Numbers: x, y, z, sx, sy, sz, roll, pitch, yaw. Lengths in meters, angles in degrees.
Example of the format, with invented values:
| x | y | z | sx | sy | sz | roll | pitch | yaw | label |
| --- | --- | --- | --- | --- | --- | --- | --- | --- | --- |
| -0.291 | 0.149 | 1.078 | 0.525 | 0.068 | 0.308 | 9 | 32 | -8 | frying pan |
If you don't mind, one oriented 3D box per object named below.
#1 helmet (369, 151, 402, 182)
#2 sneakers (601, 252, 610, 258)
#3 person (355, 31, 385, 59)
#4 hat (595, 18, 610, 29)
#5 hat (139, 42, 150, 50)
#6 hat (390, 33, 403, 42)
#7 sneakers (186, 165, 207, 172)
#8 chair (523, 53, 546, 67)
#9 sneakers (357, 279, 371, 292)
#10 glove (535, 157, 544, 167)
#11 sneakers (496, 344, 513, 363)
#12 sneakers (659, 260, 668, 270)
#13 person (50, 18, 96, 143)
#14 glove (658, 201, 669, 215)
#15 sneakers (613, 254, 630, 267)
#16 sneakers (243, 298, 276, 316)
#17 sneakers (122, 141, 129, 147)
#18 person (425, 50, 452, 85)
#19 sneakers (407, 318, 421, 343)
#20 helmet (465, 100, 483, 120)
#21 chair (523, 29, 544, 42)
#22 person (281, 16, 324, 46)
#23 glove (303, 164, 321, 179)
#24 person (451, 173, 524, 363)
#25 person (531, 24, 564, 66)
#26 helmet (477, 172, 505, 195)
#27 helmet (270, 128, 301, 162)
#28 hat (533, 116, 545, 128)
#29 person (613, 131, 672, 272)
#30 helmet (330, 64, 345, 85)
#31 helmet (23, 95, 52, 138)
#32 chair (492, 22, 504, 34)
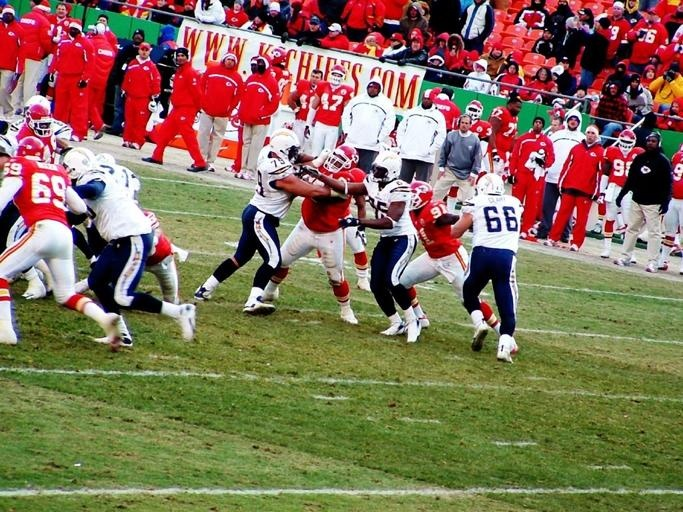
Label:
| x | y | z | sx | sy | sz | roll | pitch | yaw | label |
| --- | --- | --- | --- | --- | --- | --- | --- | --- | --- |
| 0.500 | -1.004 | 12.534 | 0.324 | 0.292 | 0.365 | 12 | 21 | 19 | helmet |
| 4.481 | -0.007 | 19.049 | 0.097 | 0.119 | 0.280 | -1 | -3 | 13 | sneakers |
| 0.607 | -4.150 | 22.323 | 0.631 | 0.328 | 0.716 | 5 | 16 | 14 | person |
| 5.244 | -4.639 | 22.345 | 0.291 | 0.236 | 0.248 | 9 | 3 | -15 | hat |
| -3.459 | -3.680 | 19.671 | 0.122 | 0.122 | 0.162 | 15 | 5 | -15 | hat |
| 1.087 | -4.343 | 22.263 | 0.222 | 0.093 | 0.167 | 16 | 18 | 12 | hat |
| -2.536 | -1.511 | 19.607 | 0.278 | 0.099 | 0.137 | 1 | 17 | -7 | sneakers |
| 4.138 | -4.275 | 24.101 | 0.374 | 0.335 | 0.357 | 11 | 1 | 20 | chair |
| 0.282 | 0.388 | 14.393 | 0.237 | 0.081 | 0.161 | 16 | -25 | 33 | sneakers |
| 3.303 | -1.562 | 18.701 | 0.153 | 0.147 | 0.118 | 10 | 3 | 8 | glove |
| 1.835 | 1.074 | 12.377 | 0.162 | 0.195 | 0.390 | 11 | 4 | 24 | sneakers |
| 5.404 | 0.159 | 18.813 | 0.155 | 0.187 | 0.204 | -1 | -6 | 16 | sneakers |
| -4.763 | -2.977 | 19.822 | 0.712 | 1.745 | 0.592 | 10 | 2 | -14 | person |
| 5.126 | -0.751 | 17.891 | 0.158 | 0.198 | 0.076 | -3 | 19 | -38 | glove |
| 4.707 | 0.100 | 18.719 | 0.328 | 0.140 | 0.126 | 7 | 0 | -40 | sneakers |
| -0.908 | 0.588 | 12.377 | 0.349 | 0.152 | 0.155 | -10 | -28 | 9 | sneakers |
| -3.972 | -2.044 | 20.563 | 0.124 | 0.061 | 0.195 | 0 | 2 | -15 | sneakers |
| 1.827 | -3.573 | 21.265 | 0.446 | 0.560 | 1.253 | 10 | 3 | 3 | person |
| 0.822 | 0.838 | 12.621 | 0.107 | 0.285 | 0.136 | 2 | -4 | 36 | sneakers |
| 2.258 | -2.471 | 18.961 | 0.322 | 0.375 | 0.387 | 5 | -2 | 12 | helmet |
| 4.324 | -4.983 | 25.319 | 0.313 | 0.282 | 0.285 | 5 | 10 | 10 | chair |
| -0.669 | -4.297 | 21.819 | 0.672 | 0.373 | 0.907 | 24 | 26 | 16 | person |
| -0.351 | -0.933 | 12.472 | 0.228 | 0.134 | 0.618 | 9 | 3 | -3 | glove |
| 1.622 | 0.112 | 12.408 | 0.914 | 2.022 | 0.487 | 11 | 2 | 8 | person |
| 4.337 | -4.470 | 23.526 | 0.683 | 0.714 | 0.423 | 5 | 33 | 10 | person |
| 1.660 | -0.794 | 12.577 | 0.234 | 0.251 | 0.273 | 0 | 17 | -24 | helmet |
| -0.643 | -1.195 | 12.406 | 0.391 | 0.347 | 0.297 | 7 | 6 | -18 | helmet |
| 3.336 | -2.256 | 19.024 | 0.192 | 0.184 | 0.236 | 6 | -35 | 16 | hat |
| 4.891 | -0.867 | 18.100 | 0.805 | 2.280 | 1.051 | 11 | 2 | 14 | person |
| -0.070 | -3.140 | 19.524 | 0.258 | 0.300 | 0.315 | 2 | 2 | 1 | helmet |
| -3.562 | -1.558 | 12.776 | 0.444 | 0.338 | 0.305 | 8 | 3 | -5 | helmet |
| 3.626 | -5.255 | 25.825 | 0.274 | 0.332 | 0.290 | 1 | 10 | 10 | chair |
